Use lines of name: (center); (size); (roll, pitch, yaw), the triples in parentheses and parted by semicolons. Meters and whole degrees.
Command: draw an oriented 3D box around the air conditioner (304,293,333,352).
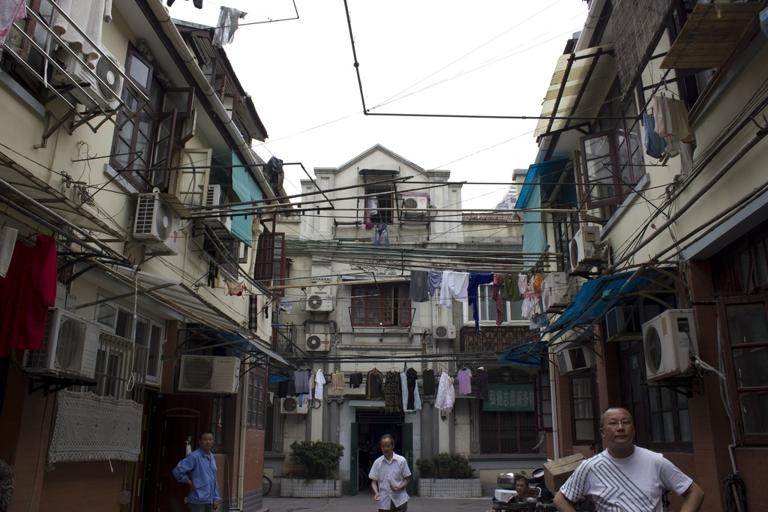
air conditioner: (-2.455, 2.371, 24.872); (0.978, 2.360, 0.756); (2, -23, -6)

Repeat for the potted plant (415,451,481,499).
potted plant: (2.295, 8.020, 23.427); (1.578, 1.081, 1.628); (1, -27, 1)

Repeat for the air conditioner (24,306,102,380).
air conditioner: (-4.630, 1.245, 9.350); (0.487, 0.852, 0.913); (-6, -25, 13)

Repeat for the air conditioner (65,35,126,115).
air conditioner: (-4.435, -2.918, 10.120); (0.590, 1.071, 1.313); (1, -24, -4)

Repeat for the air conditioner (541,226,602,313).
air conditioner: (4.141, 0.229, 14.112); (0.634, 1.268, 2.132); (4, -24, -10)

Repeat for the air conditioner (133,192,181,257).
air conditioner: (-4.205, -0.591, 12.237); (0.436, 0.968, 1.115); (1, -13, 5)

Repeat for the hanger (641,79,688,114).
hanger: (4.750, -2.823, 11.239); (0.429, 0.245, 0.651); (-1, -7, -2)

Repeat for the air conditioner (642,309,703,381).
air conditioner: (4.448, 1.378, 10.245); (0.442, 1.008, 0.901); (10, -25, -23)
